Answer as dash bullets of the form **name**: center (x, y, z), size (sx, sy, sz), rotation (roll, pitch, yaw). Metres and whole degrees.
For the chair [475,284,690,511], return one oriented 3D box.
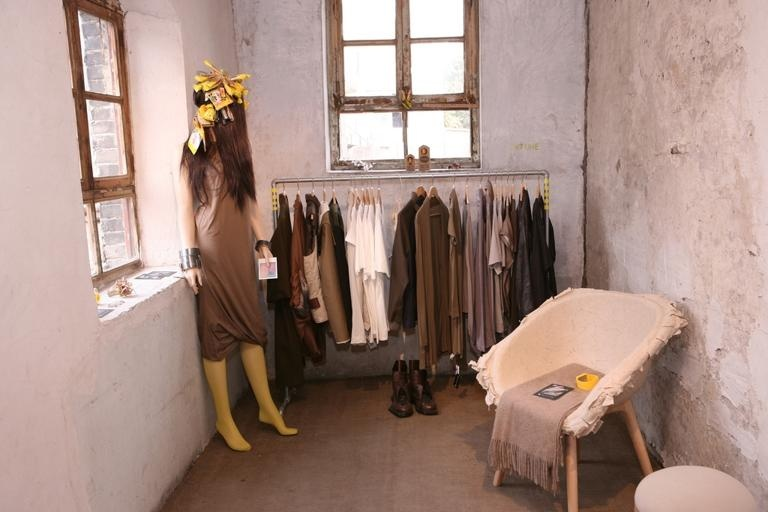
- **chair**: center (1.041, 0.723, 3.289), size (1.103, 1.163, 1.104), rotation (-9, 9, -33)

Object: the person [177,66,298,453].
- **person**: center (-0.996, 0.046, 3.508), size (0.368, 2.395, 0.565), rotation (0, 14, 18)

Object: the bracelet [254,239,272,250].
- **bracelet**: center (-0.832, -0.075, 3.710), size (0.077, 0.060, 0.069), rotation (-2, 2, 11)

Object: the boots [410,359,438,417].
- **boots**: center (0.283, 0.971, 4.011), size (0.135, 0.312, 0.445), rotation (-6, 7, -4)

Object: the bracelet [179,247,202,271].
- **bracelet**: center (-1.169, 0.018, 3.292), size (0.121, 0.138, 0.127), rotation (3, 12, 42)

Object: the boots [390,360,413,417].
- **boots**: center (0.125, 0.975, 4.007), size (0.155, 0.292, 0.416), rotation (-2, 11, -3)
